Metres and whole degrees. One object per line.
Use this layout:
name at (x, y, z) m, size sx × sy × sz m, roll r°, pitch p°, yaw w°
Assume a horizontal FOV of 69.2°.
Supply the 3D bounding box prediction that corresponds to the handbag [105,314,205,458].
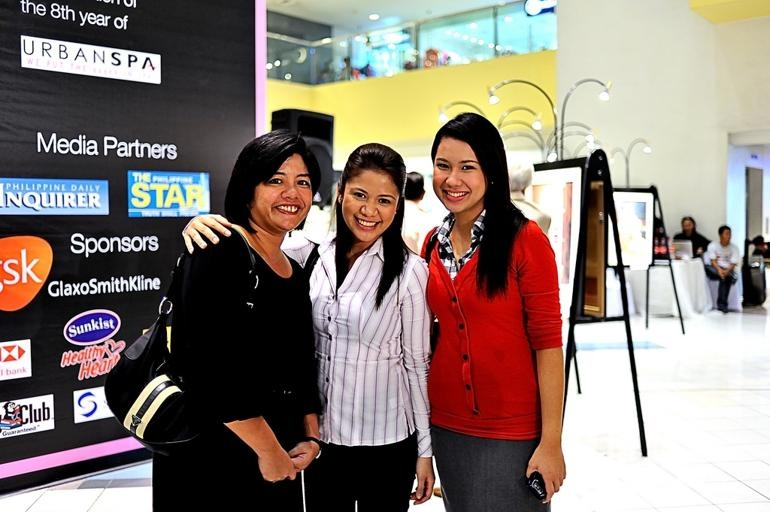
handbag at (-0.938, 0.489, 2.232) m, size 0.360 × 0.494 × 0.194 m, roll 7°, pitch 11°, yaw 31°

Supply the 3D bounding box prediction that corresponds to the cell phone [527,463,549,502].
cell phone at (0.638, 0.954, 2.320) m, size 0.083 × 0.115 × 0.052 m, roll 4°, pitch 10°, yaw 19°

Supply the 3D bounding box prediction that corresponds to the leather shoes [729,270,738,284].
leather shoes at (6.338, 0.386, 10.068) m, size 0.249 × 0.251 × 0.090 m, roll -5°, pitch 11°, yaw -30°

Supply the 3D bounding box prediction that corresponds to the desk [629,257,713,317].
desk at (4.915, 0.569, 9.620) m, size 1.133 × 0.722 × 1.115 m, roll -1°, pitch -1°, yaw -8°

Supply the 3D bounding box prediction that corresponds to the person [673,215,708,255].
person at (6.010, -0.390, 10.902) m, size 0.587 × 0.840 × 0.325 m, roll -10°, pitch -28°, yaw 15°
